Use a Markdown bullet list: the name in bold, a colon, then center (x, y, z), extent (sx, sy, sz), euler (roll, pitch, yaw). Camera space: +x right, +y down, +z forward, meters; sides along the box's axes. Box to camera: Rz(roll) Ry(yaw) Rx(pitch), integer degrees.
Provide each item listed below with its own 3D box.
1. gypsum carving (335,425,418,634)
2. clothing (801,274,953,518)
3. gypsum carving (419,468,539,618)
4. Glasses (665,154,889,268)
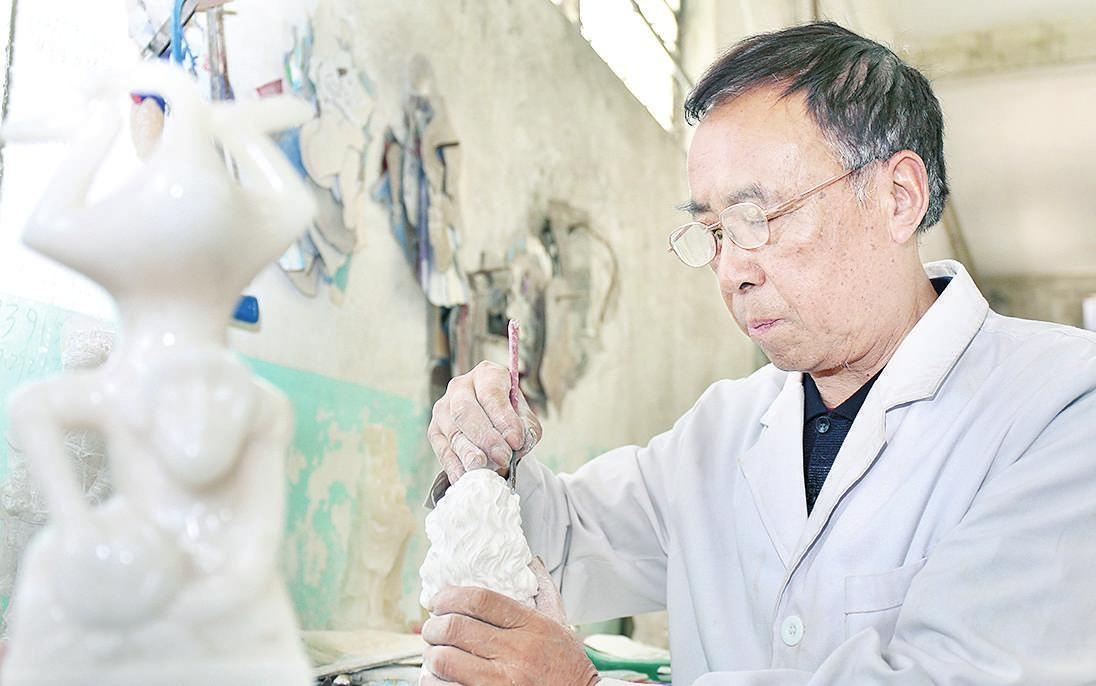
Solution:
- **gypsum carving**: center (-0.503, 0.552, 3.345), extent (0.067, 0.602, 0.332), euler (-2, 6, 24)
- **clothing**: center (0.775, 0.111, 2.834), extent (0.301, 0.609, 0.139), euler (5, -5, 39)
- **gypsum carving**: center (-0.159, 0.423, 2.555), extent (0.270, 0.398, 0.246), euler (6, 1, -19)
- **Glasses**: center (0.429, -0.260, 2.609), extent (0.259, 0.083, 0.252), euler (-29, -3, -32)
